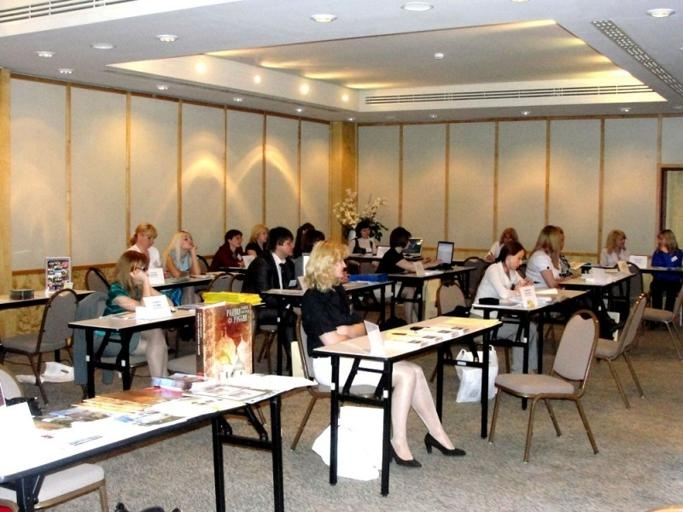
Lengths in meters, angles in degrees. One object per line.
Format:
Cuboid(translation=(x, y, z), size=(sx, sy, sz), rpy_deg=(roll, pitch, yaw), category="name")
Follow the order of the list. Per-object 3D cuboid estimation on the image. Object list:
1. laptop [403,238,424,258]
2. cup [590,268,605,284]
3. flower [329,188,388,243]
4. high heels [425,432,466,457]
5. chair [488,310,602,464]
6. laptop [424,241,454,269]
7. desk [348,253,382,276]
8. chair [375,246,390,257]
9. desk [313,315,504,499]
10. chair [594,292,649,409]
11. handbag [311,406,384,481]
Cuboid(translation=(1.409, -0.156, 10.837), size=(0.490, 0.381, 0.355), rpy_deg=(2, -2, 28), category="laptop")
Cuboid(translation=(3.352, 0.253, 7.290), size=(0.193, 0.185, 0.183), rpy_deg=(1, 5, 0), category="cup")
Cuboid(translation=(0.411, -0.872, 12.544), size=(1.307, 1.339, 1.184), rpy_deg=(3, 0, -5), category="flower")
Cuboid(translation=(0.722, 1.386, 4.141), size=(0.393, 0.174, 0.127), rpy_deg=(-1, -1, 11), category="high heels")
Cuboid(translation=(1.552, 0.932, 4.256), size=(0.733, 0.999, 0.675), rpy_deg=(0, 1, -19), category="chair")
Cuboid(translation=(1.619, -0.008, 9.433), size=(0.565, 0.496, 0.525), rpy_deg=(2, -1, -42), category="laptop")
Cuboid(translation=(0.344, 0.123, 10.513), size=(0.416, 0.431, 0.492), rpy_deg=(1, 2, 41), category="desk")
Cuboid(translation=(0.781, -0.099, 10.999), size=(0.292, 0.260, 0.203), rpy_deg=(0, -1, 18), category="chair")
Cuboid(translation=(0.562, 1.021, 4.075), size=(0.592, 0.858, 1.664), rpy_deg=(0, 1, 38), category="desk")
Cuboid(translation=(2.567, 0.873, 5.420), size=(0.687, 1.028, 0.601), rpy_deg=(3, 4, 40), category="chair")
Cuboid(translation=(0.119, 1.234, 3.712), size=(0.294, 0.475, 0.133), rpy_deg=(1, 6, 7), category="handbag")
